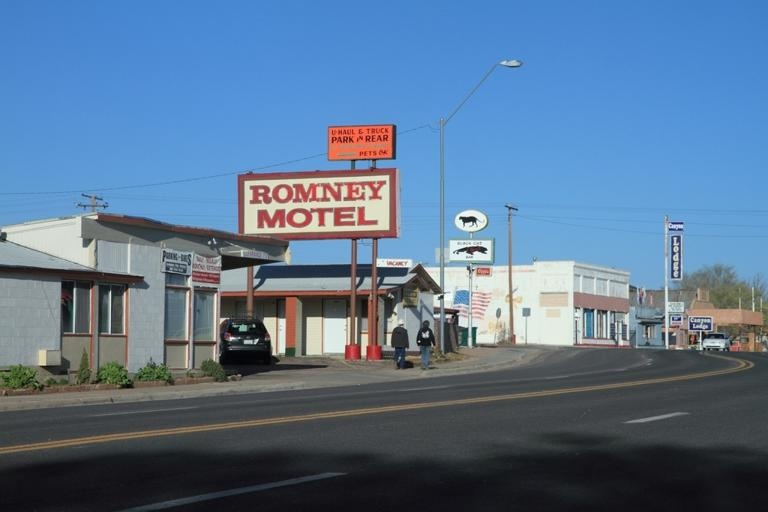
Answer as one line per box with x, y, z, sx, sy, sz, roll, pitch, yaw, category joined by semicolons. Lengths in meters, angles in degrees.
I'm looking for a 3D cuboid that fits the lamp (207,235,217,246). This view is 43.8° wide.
-6.266;-0.565;34.949;0.091;0.333;0.384;-5;-8;32;lamp

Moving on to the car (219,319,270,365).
-5.890;3.575;40.029;2.449;1.911;5.165;0;-1;-9;car
